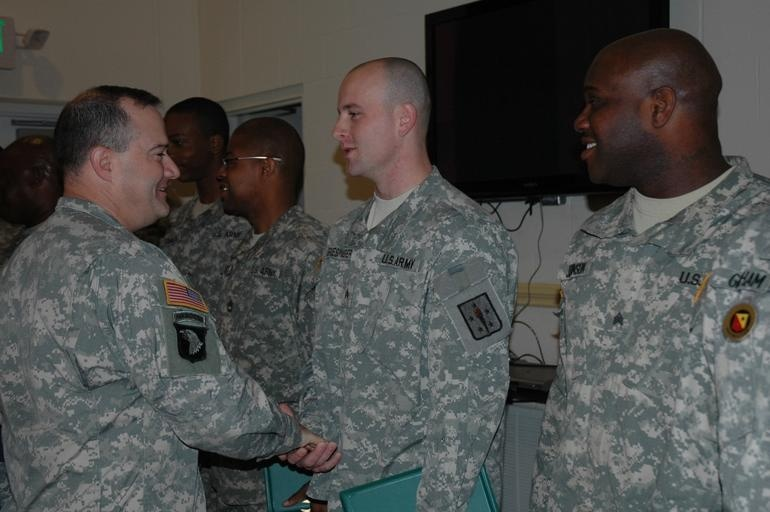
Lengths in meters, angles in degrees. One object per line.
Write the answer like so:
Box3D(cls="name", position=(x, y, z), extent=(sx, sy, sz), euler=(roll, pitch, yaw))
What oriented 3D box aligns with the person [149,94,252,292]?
Box3D(cls="person", position=(-0.863, -0.268, 3.436), extent=(0.499, 0.835, 1.040), euler=(1, 8, -10))
